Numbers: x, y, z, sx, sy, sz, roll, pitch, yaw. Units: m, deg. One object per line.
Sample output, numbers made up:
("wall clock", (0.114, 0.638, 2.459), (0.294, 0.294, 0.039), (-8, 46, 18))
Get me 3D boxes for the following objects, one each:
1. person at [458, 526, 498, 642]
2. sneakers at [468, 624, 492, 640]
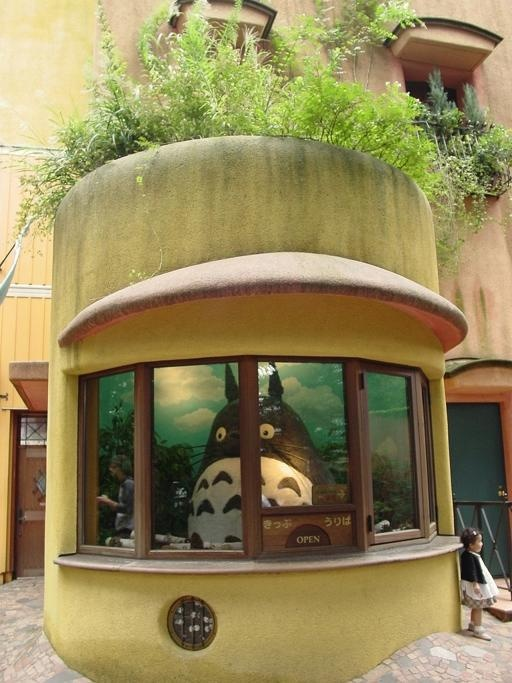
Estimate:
("person", (2.015, 2.170, 4.994), (0.306, 0.885, 0.616), (-7, -12, 20))
("sneakers", (1.927, 2.482, 4.740), (0.171, 0.083, 0.235), (-6, -11, 16))
